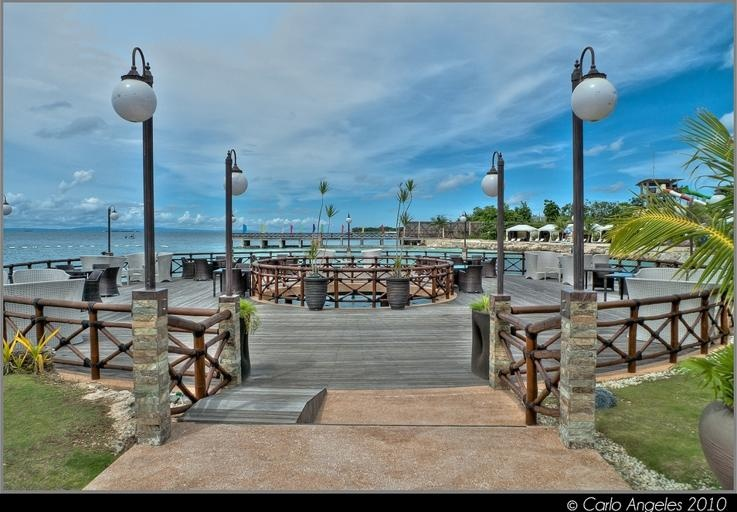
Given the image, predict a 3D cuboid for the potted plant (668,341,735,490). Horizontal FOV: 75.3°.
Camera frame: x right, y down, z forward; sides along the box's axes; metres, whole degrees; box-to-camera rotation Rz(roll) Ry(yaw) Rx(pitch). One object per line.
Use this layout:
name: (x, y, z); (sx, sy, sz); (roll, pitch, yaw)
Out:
potted plant: (3.169, 1.493, 4.453); (0.444, 1.163, 0.632); (7, 14, 32)

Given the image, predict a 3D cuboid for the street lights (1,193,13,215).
street lights: (-9.725, -1.359, 12.879); (0.157, 0.558, 1.336); (-9, 14, -35)
